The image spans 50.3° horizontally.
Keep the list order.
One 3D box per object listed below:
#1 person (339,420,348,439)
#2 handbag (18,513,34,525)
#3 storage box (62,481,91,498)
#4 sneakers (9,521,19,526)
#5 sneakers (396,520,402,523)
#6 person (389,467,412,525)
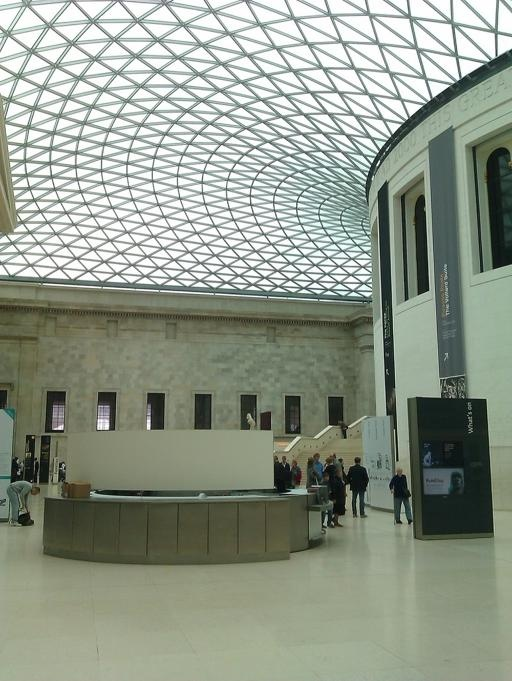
[{"bbox_3d":[5.906,6.185,36.589,0.391,0.966,0.851,-5,-8,20],"label":"person"},{"bbox_3d":[-5.857,4.598,13.903,0.346,0.395,0.238,1,-1,-17],"label":"handbag"},{"bbox_3d":[-3.310,2.764,9.991,0.258,0.225,0.466,5,-14,-25],"label":"storage box"},{"bbox_3d":[-6.098,4.671,13.728,0.275,0.136,0.100,0,-9,-1],"label":"sneakers"},{"bbox_3d":[3.735,4.794,14.227,0.130,0.099,0.071,4,2,-2],"label":"sneakers"},{"bbox_3d":[3.901,4.204,14.650,0.528,1.693,2.792,-4,-8,14],"label":"person"}]
